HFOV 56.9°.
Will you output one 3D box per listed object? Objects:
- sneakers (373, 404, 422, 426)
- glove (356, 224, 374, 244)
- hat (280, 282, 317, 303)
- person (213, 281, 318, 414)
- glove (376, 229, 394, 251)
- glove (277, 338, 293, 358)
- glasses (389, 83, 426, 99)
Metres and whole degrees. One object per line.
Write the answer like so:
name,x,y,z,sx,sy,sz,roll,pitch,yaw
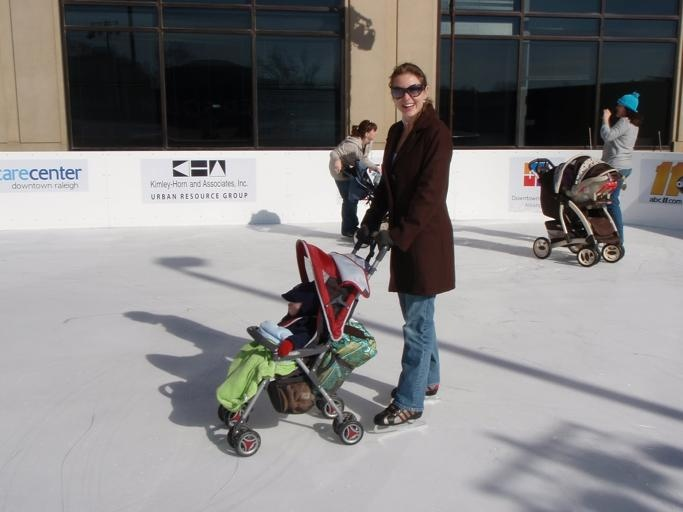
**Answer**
sneakers,0.371,1.090,4.355,0.357,0.160,0.138,1,3,-16
glove,0.169,-0.151,4.204,0.086,0.127,0.107,-18,12,-31
hat,-0.273,0.237,4.219,0.190,0.073,0.129,-2,25,-5
person,-0.507,0.556,4.461,0.795,1.016,0.739,0,7,-14
glove,0.272,-0.106,4.093,0.081,0.121,0.107,12,-15,12
glove,-0.360,0.585,3.985,0.077,0.107,0.028,41,7,9
glasses,0.436,-1.079,4.146,0.224,0.097,0.090,1,14,6
